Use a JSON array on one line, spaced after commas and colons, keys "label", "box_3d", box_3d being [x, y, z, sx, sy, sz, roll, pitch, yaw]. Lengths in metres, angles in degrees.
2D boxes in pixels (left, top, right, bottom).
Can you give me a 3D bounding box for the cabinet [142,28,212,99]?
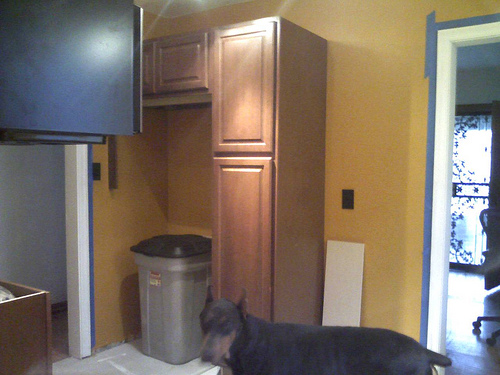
[{"label": "cabinet", "box_3d": [-0.494, -0.835, 3.218, 0.649, 0.410, 0.349, 0, -1, 35]}]
